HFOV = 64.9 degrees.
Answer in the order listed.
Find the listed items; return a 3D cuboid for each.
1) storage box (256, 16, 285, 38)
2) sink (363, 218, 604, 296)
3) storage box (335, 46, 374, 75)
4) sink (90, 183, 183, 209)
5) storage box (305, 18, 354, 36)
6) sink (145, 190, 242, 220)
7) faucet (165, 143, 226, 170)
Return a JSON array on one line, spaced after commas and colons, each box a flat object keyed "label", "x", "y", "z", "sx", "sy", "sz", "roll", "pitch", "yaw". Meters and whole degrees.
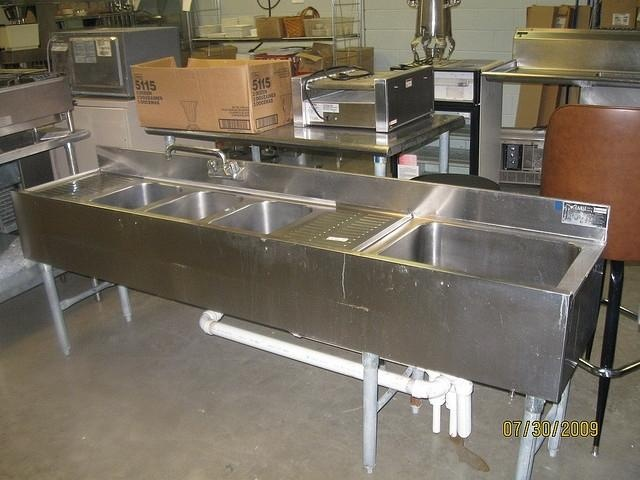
[{"label": "storage box", "x": -0.575, "y": -2.348, "z": 5.620, "sx": 0.281, "sy": 0.182, "sz": 0.279, "roll": -5, "pitch": 24, "yaw": -12}, {"label": "sink", "x": 0.698, "y": 0.062, "z": 2.091, "sx": 0.659, "sy": 0.225, "sz": 0.403, "roll": 3, "pitch": 8, "yaw": 19}, {"label": "storage box", "x": 0.343, "y": -2.004, "z": 5.623, "sx": 0.352, "sy": 0.278, "sz": 0.931, "roll": 7, "pitch": 26, "yaw": 20}, {"label": "sink", "x": -0.961, "y": -0.239, "z": 2.600, "sx": 0.224, "sy": 0.118, "sz": 0.282, "roll": 17, "pitch": 29, "yaw": 27}, {"label": "storage box", "x": 0.146, "y": -2.290, "z": 5.411, "sx": 0.582, "sy": 0.187, "sz": 0.560, "roll": -8, "pitch": 25, "yaw": -14}, {"label": "sink", "x": -0.630, "y": -0.171, "z": 2.417, "sx": 0.215, "sy": 0.100, "sz": 0.279, "roll": 16, "pitch": 26, "yaw": 30}, {"label": "faucet", "x": -0.633, "y": -0.426, "z": 2.496, "sx": 0.398, "sy": 0.110, "sz": 0.124, "roll": 19, "pitch": 32, "yaw": 40}]
